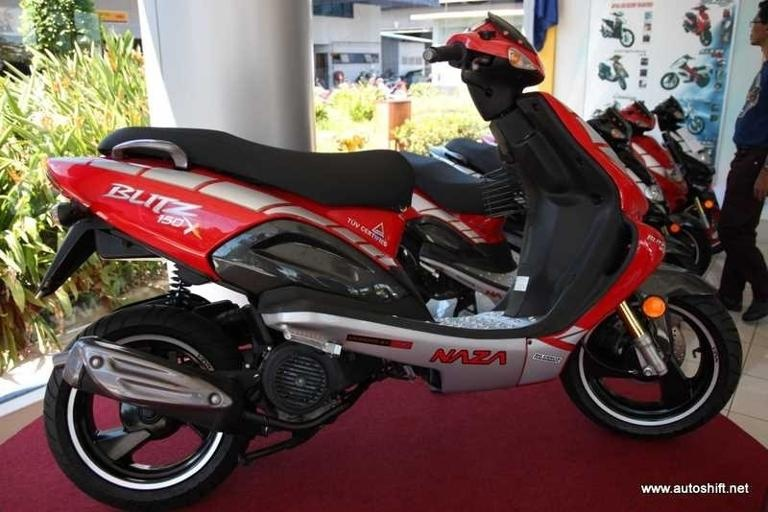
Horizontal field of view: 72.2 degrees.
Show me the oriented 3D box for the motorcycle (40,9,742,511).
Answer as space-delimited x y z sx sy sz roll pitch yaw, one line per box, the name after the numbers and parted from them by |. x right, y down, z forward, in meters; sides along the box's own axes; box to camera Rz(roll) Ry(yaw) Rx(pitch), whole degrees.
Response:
-0.189 0.034 2.063 2.282 1.720 0.948 -11 30 -20 | motorcycle

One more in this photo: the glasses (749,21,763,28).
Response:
2.426 -1.530 3.445 0.039 0.041 0.127 7 28 14 | glasses

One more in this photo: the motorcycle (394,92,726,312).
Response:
1.156 -0.428 3.487 2.265 1.382 0.927 -1 18 3 | motorcycle
